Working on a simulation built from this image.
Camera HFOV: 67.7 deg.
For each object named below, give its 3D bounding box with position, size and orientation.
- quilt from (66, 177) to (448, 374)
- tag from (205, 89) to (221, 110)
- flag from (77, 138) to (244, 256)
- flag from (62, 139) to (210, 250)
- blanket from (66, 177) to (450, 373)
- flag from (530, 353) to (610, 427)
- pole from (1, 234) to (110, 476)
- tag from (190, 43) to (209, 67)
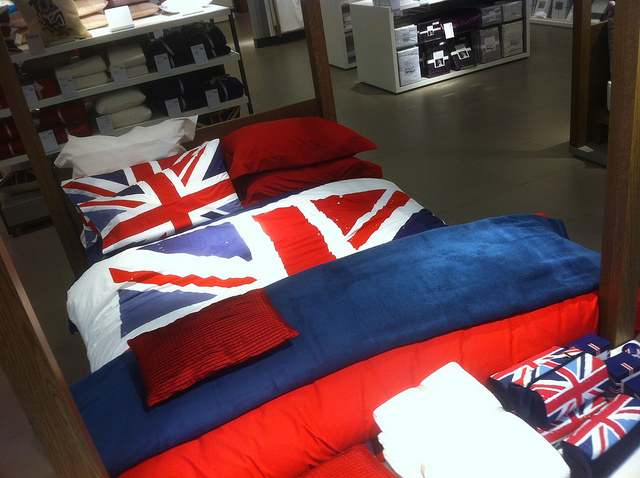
[{"bbox_3d":[-0.260,0.184,2.668,1.736,0.397,0.990,-22,41,-7],"label":"quilt"},{"bbox_3d":[-0.979,-1.283,4.350,0.123,0.158,0.038,-15,21,-16],"label":"tag"},{"bbox_3d":[-0.935,-0.271,2.890,0.887,0.517,0.247,-24,-2,-21],"label":"flag"},{"bbox_3d":[-0.960,-0.236,2.852,0.891,0.226,0.745,-22,29,-23],"label":"flag"},{"bbox_3d":[-0.260,0.284,2.809,1.821,0.422,1.060,-23,43,-9],"label":"blanket"},{"bbox_3d":[0.834,0.500,1.679,0.352,0.123,0.169,-14,24,-29],"label":"flag"},{"bbox_3d":[-0.592,0.283,0.975,0.130,0.559,0.173,-21,32,-18],"label":"pole"},{"bbox_3d":[-1.059,-1.621,4.184,0.125,0.161,0.038,-19,23,-17],"label":"tag"}]
